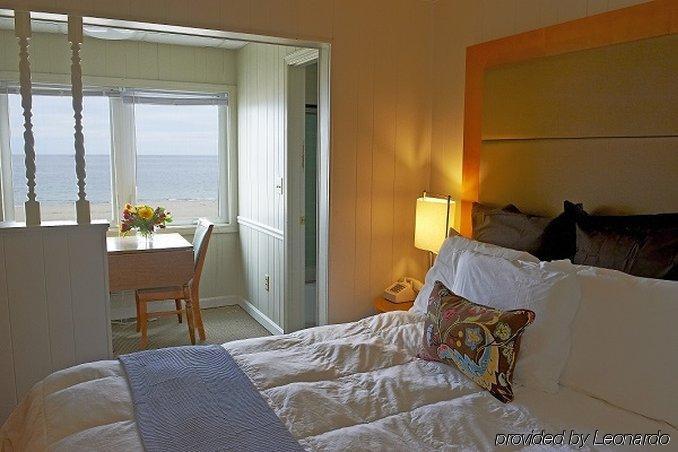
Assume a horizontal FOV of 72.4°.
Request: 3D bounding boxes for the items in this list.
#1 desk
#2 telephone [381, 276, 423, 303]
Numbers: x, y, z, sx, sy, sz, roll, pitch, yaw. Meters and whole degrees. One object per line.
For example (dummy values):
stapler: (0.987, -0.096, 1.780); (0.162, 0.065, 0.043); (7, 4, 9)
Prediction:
desk: (-1.688, 0.542, 4.674); (0.704, 1.178, 0.598); (2, 9, -35)
telephone: (0.521, 0.529, 3.841); (0.193, 0.140, 0.257); (-1, 3, -33)
